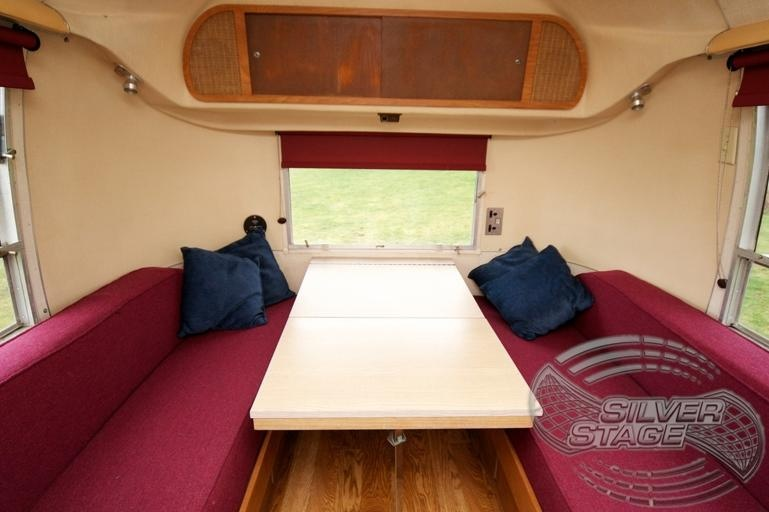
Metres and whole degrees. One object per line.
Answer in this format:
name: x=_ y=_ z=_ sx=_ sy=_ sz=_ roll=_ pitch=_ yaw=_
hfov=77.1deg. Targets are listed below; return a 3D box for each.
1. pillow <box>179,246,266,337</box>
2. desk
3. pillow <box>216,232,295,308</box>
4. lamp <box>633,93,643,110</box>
pillow: x=-1.184 y=0.164 z=3.482 sx=0.225 sy=0.783 sz=0.769 roll=-4 pitch=-8 yaw=39
desk: x=0.002 y=0.641 z=3.435 sx=1.440 sy=0.500 sz=2.144 roll=2 pitch=20 yaw=0
pillow: x=-1.052 y=0.115 z=3.851 sx=0.164 sy=0.566 sz=0.528 roll=-25 pitch=2 yaw=36
lamp: x=1.708 y=-1.033 z=3.269 sx=0.077 sy=0.094 sz=0.028 roll=-2 pitch=-3 yaw=17
